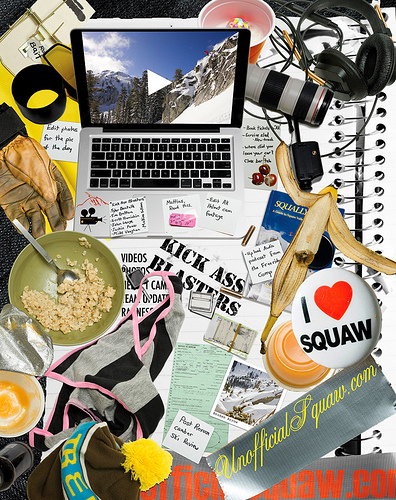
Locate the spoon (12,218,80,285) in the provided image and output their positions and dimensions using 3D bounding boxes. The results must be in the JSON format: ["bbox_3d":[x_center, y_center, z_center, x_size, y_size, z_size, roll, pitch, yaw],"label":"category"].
[{"bbox_3d":[-0.342,0.001,0.940,0.046,0.055,0.182,-38,76,-19],"label":"spoon"}]

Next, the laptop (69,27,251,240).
[{"bbox_3d":[-0.070,-0.241,0.910,0.401,0.323,0.354,2,67,-6],"label":"laptop"}]

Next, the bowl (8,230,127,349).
[{"bbox_3d":[-0.280,0.079,0.927,0.259,0.075,0.223,40,68,10],"label":"bowl"}]
